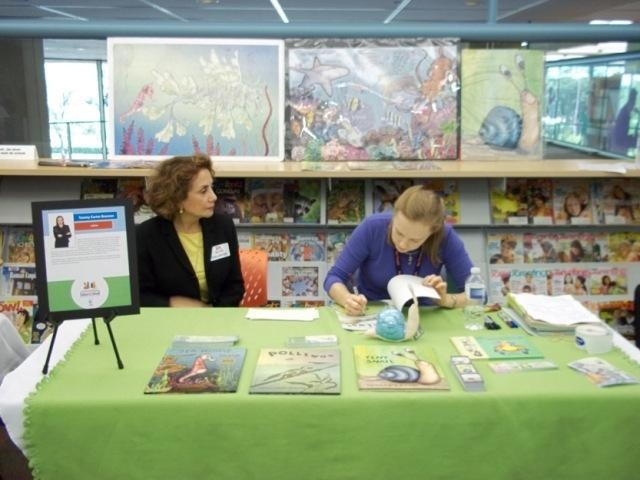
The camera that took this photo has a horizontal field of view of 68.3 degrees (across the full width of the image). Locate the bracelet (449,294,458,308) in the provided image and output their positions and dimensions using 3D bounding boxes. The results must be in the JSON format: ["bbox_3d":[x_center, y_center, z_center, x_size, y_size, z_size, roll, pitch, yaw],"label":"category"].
[{"bbox_3d":[0.700,0.323,2.474,0.022,0.053,0.046,2,-11,3],"label":"bracelet"}]

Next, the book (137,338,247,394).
[{"bbox_3d":[-0.476,0.511,1.900,0.335,0.341,0.016,12,35,-23],"label":"book"}]

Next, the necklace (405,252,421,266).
[{"bbox_3d":[0.533,0.106,2.683,0.063,0.081,0.025,-1,1,-4],"label":"necklace"}]

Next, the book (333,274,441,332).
[{"bbox_3d":[0.412,0.279,2.274,0.292,0.132,0.355,-4,9,-3],"label":"book"}]

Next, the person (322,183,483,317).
[{"bbox_3d":[0.458,0.224,2.755,0.811,1.118,0.740,5,30,8],"label":"person"}]

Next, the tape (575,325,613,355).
[{"bbox_3d":[1.194,0.423,2.064,0.109,0.077,0.137,3,11,21],"label":"tape"}]

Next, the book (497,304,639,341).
[{"bbox_3d":[1.288,0.432,2.443,0.468,0.103,0.441,0,14,1],"label":"book"}]
